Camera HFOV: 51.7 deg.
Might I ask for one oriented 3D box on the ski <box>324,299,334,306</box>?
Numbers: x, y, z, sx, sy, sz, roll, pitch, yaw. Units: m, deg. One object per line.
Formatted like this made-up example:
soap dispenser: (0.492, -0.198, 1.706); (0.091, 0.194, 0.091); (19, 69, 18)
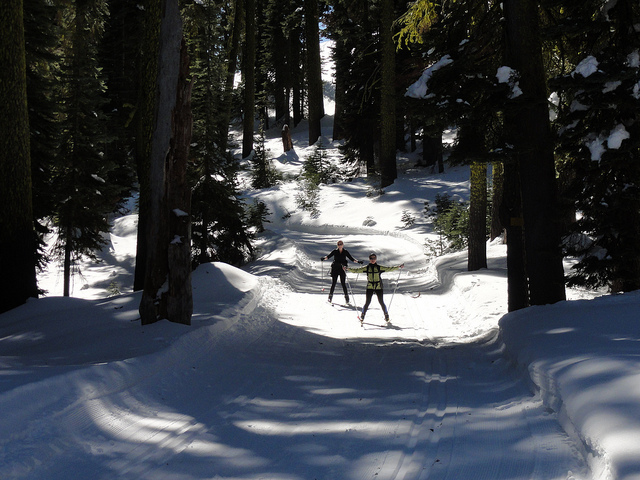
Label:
ski: (0.286, 1.936, 20.427); (0.332, 0.056, 0.064); (31, 48, 9)

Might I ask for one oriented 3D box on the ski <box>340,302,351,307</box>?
ski: (0.769, 1.984, 20.156); (0.142, 0.035, 0.538); (2, 11, 34)
